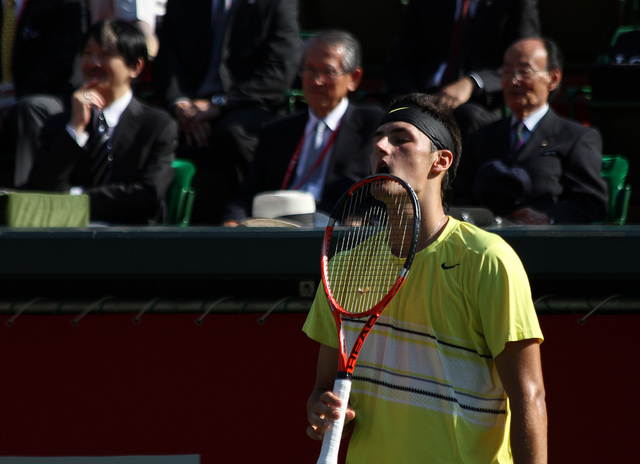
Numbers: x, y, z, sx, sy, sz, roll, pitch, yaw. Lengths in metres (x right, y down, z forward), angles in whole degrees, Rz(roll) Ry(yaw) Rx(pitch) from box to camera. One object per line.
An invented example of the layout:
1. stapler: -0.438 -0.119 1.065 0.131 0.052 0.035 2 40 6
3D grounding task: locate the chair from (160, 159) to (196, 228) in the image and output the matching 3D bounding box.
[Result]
1. chair: -0.864 -0.214 5.230 0.171 0.390 0.809 5 11 -11

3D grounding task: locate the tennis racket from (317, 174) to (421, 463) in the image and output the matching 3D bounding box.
1. tennis racket: 0.199 0.307 3.859 0.356 1.427 0.069 10 0 32

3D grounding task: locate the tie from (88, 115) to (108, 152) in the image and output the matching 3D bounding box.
1. tie: -1.397 -0.617 5.405 0.052 0.200 0.137 21 -5 -27

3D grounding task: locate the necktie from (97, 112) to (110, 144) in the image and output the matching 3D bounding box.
1. necktie: -1.373 -0.648 5.397 0.040 0.162 0.108 3 -7 -16

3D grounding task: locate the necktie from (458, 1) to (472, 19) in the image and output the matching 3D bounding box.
1. necktie: 1.003 -1.544 5.935 0.067 0.125 0.024 8 10 5

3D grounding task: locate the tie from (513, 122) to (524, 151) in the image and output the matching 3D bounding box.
1. tie: 1.235 -0.595 5.338 0.033 0.149 0.103 5 -8 -3

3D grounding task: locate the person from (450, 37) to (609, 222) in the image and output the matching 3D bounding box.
1. person: 1.255 -0.563 5.332 0.903 1.382 0.732 2 -6 23

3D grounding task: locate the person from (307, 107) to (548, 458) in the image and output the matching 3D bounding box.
1. person: 0.399 0.235 3.779 0.844 1.517 1.218 3 11 -20
